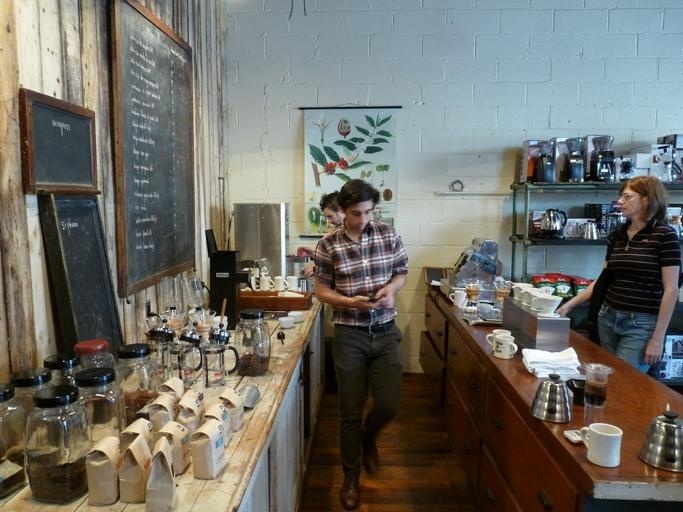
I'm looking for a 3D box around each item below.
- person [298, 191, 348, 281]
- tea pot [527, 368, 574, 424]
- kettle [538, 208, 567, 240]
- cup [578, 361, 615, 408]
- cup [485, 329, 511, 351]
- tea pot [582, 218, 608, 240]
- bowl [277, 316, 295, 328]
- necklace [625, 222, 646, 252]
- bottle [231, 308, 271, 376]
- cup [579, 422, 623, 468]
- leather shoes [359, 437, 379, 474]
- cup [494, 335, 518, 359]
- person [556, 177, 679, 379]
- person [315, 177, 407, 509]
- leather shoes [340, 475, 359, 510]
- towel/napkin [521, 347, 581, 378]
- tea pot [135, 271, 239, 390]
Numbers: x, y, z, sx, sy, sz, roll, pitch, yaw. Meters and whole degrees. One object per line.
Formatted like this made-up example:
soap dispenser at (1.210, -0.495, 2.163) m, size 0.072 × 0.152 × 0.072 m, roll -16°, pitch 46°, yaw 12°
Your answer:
person at (-0.090, -0.125, 4.479) m, size 0.404 × 0.791 × 0.305 m, roll -6°, pitch 15°, yaw -18°
tea pot at (0.904, 0.599, 2.326) m, size 0.166 × 0.197 × 0.179 m, roll 2°, pitch 4°, yaw 0°
kettle at (1.810, -0.282, 4.646) m, size 0.240 × 0.256 × 0.208 m, roll 2°, pitch 0°, yaw -14°
cup at (1.063, 0.543, 2.311) m, size 0.151 × 0.183 × 0.150 m, roll 0°, pitch 1°, yaw 0°
cup at (0.853, 0.464, 2.995) m, size 0.145 × 0.134 × 0.093 m, roll 2°, pitch 6°, yaw 40°
tea pot at (2.167, -0.231, 4.680) m, size 0.211 × 0.162 × 0.147 m, roll 1°, pitch 2°, yaw 15°
bowl at (-0.355, 0.413, 3.352) m, size 0.064 × 0.040 × 0.067 m, roll -3°, pitch 4°, yaw 0°
necklace at (1.942, -0.123, 3.603) m, size 0.052 × 0.145 × 0.101 m, roll -2°, pitch 9°, yaw -36°
bottle at (-0.460, 0.447, 2.766) m, size 0.183 × 0.318 × 0.182 m, roll 0°, pitch 3°, yaw 0°
cup at (0.981, 0.719, 2.067) m, size 0.115 × 0.121 × 0.152 m, roll -2°, pitch 3°, yaw -5°
leather shoes at (0.176, 1.334, 3.612) m, size 0.103 × 0.327 × 0.077 m, roll 1°, pitch 0°, yaw -23°
cup at (0.858, 0.485, 2.852) m, size 0.085 × 0.111 × 0.140 m, roll -1°, pitch 5°, yaw -7°
person at (1.950, 0.135, 3.551) m, size 0.450 × 1.292 × 0.339 m, roll 8°, pitch 14°, yaw 34°
person at (0.152, 0.506, 3.371) m, size 0.553 × 1.950 × 0.494 m, roll -6°, pitch 13°, yaw -30°
leather shoes at (0.047, 1.434, 3.266) m, size 0.119 × 0.177 × 0.113 m, roll 1°, pitch 11°, yaw 0°
towel/napkin at (1.037, 0.538, 2.684) m, size 0.157 × 0.065 × 0.176 m, roll -2°, pitch 8°, yaw 3°
tea pot at (-0.845, 0.362, 3.010) m, size 0.291 × 0.382 × 1.013 m, roll 1°, pitch -1°, yaw -11°
